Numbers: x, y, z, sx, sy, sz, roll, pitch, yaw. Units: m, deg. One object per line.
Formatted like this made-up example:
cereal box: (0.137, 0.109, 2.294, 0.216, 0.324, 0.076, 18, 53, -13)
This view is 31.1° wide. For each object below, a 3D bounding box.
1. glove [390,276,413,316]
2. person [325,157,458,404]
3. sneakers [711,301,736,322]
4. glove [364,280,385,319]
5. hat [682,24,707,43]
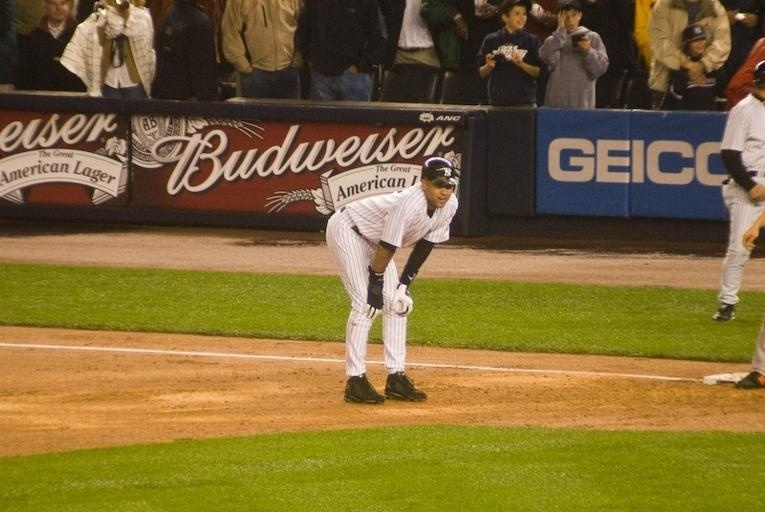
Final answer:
glove: (0.148, 0.473, 14.766, 0.278, 0.315, 0.102, 24, -10, -28)
person: (0.052, 0.278, 14.746, 1.344, 2.651, 0.556, 2, 7, -3)
sneakers: (4.317, 0.737, 17.384, 0.407, 0.248, 0.130, 13, -3, -33)
glove: (-0.073, 0.462, 14.687, 0.130, 0.428, 0.143, 12, -3, -30)
hat: (4.705, -3.340, 20.758, 0.252, 0.138, 0.310, -14, -3, -27)
